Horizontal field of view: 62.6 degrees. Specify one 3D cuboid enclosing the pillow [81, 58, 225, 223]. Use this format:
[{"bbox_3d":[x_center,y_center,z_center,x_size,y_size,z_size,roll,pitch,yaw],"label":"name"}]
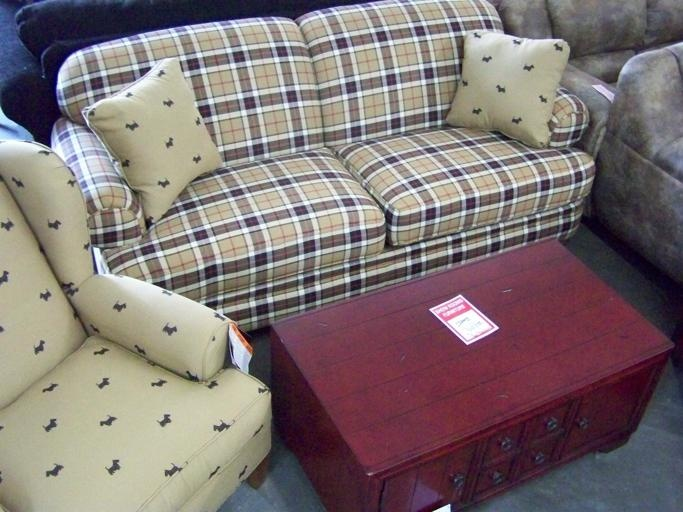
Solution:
[{"bbox_3d":[-0.729,-0.425,2.109,0.253,0.452,0.500,23,46,21],"label":"pillow"}]
